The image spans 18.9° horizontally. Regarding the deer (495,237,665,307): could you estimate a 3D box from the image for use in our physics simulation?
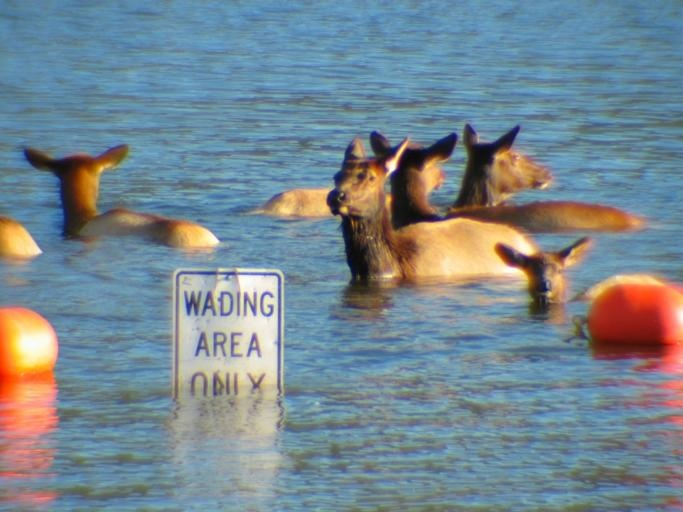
[{"bbox_3d":[3.534,0.192,29.722,1.076,0.926,2.282,-3,4,41],"label":"deer"}]

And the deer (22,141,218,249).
[{"bbox_3d":[-3.825,-0.772,32.496,3.183,1.070,1.522,34,54,27],"label":"deer"}]
